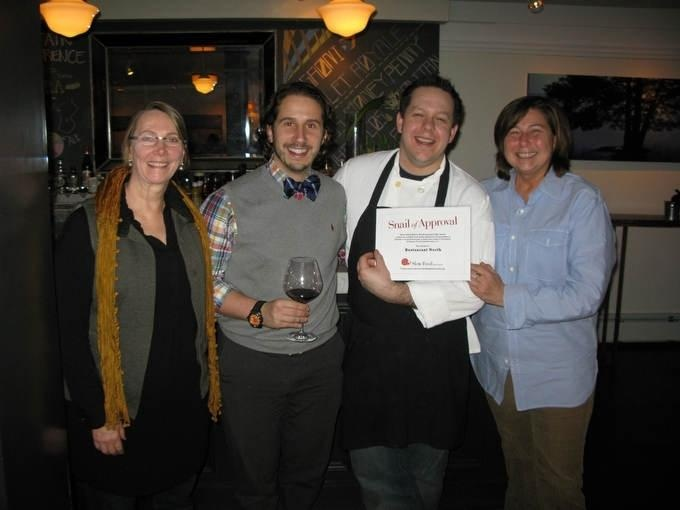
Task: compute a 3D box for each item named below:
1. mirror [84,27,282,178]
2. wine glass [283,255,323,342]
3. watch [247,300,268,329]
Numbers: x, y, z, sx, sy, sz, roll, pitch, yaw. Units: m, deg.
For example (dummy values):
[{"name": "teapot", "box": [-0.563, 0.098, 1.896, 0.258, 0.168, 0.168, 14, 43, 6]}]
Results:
[{"name": "mirror", "box": [-1.386, -1.394, 4.842, 1.888, 1.322, 0.078, 0, 5, -2]}, {"name": "wine glass", "box": [-0.156, 0.199, 2.445, 0.156, 0.378, 0.142, -1, 11, -2]}, {"name": "watch", "box": [-0.348, 0.251, 2.450, 0.068, 0.111, 0.107, 24, 3, 12]}]
